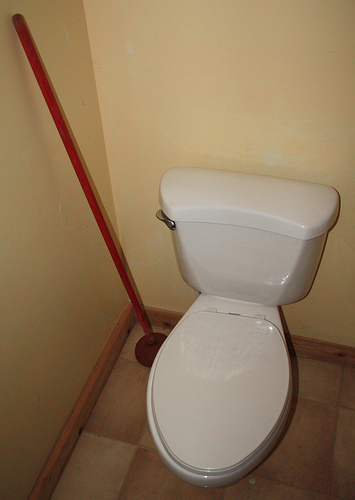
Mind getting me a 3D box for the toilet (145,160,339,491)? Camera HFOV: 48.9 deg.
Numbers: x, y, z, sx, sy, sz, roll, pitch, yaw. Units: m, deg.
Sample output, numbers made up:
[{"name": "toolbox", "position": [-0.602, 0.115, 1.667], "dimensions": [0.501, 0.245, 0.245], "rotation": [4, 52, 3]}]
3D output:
[{"name": "toilet", "position": [0.141, 0.264, 1.001], "dimensions": [0.395, 0.662, 0.629], "rotation": [6, 43, 14]}]
